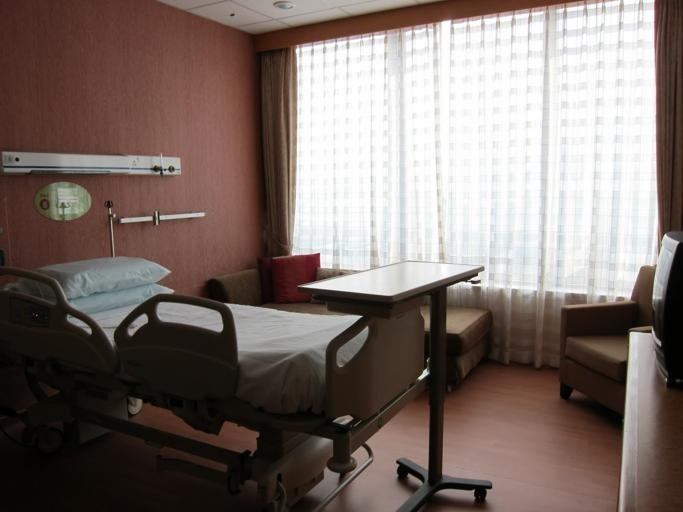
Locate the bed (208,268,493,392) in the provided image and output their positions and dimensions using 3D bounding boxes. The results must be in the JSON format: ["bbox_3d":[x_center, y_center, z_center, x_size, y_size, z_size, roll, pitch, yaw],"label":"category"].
[{"bbox_3d":[0.183,0.532,5.343,2.106,0.895,1.284,3,11,25],"label":"bed"}]

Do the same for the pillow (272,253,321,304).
[{"bbox_3d":[-0.458,0.230,5.310,0.432,0.440,0.155,-3,-8,-7],"label":"pillow"}]

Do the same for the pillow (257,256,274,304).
[{"bbox_3d":[-0.807,0.255,5.805,0.132,0.379,0.368,-1,2,-20],"label":"pillow"}]

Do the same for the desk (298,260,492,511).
[{"bbox_3d":[0.343,0.864,3.331,0.630,1.276,1.236,5,11,29],"label":"desk"}]
